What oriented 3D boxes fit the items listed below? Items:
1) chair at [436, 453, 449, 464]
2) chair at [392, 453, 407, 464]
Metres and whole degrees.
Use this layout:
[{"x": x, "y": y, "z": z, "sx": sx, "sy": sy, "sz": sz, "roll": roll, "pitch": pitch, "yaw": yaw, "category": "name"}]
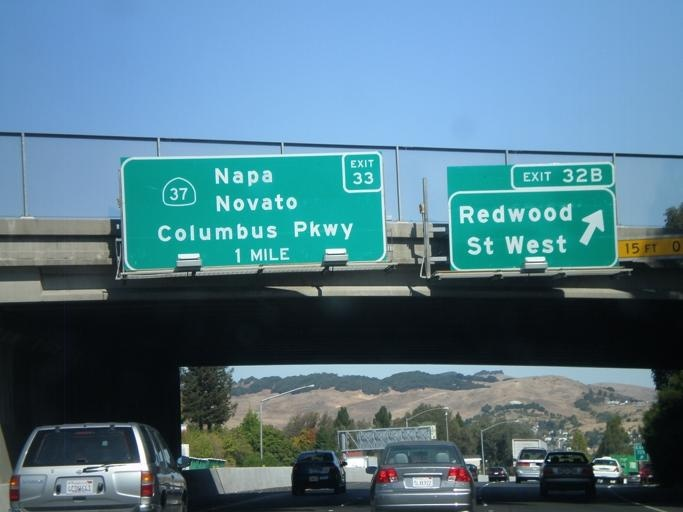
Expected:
[{"x": 3.199, "y": 6.431, "z": 43.295, "sx": 0.367, "sy": 0.407, "sz": 0.220, "roll": 1, "pitch": -4, "yaw": 6, "category": "chair"}, {"x": 1.823, "y": 6.484, "z": 43.454, "sx": 0.449, "sy": 0.478, "sz": 0.287, "roll": 0, "pitch": -6, "yaw": 11, "category": "chair"}]
